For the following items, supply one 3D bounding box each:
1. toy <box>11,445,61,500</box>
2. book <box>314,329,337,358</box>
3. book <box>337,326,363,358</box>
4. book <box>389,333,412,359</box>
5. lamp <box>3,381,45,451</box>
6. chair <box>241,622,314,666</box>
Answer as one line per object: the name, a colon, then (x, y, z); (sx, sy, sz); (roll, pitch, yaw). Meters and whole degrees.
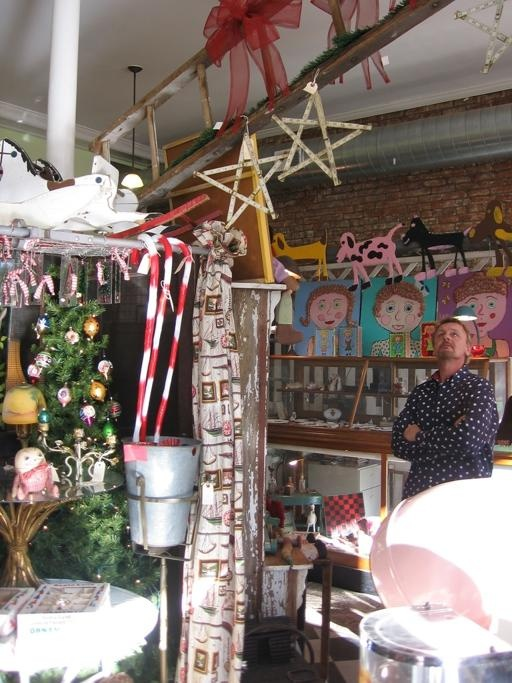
toy: (-0.749, 0.442, 1.898); (0.149, 0.150, 0.314); (-4, -4, -20)
book: (0.704, 0.024, 5.662); (0.095, 0.243, 0.250); (11, -13, -37)
book: (0.930, 0.011, 5.543); (0.272, 0.306, 0.116); (-7, -20, 31)
book: (1.370, 0.043, 5.345); (0.248, 0.231, 0.068); (-2, -12, 44)
lamp: (-0.889, 0.284, 2.165); (0.148, 0.238, 0.232); (-4, -4, -20)
chair: (0.096, 1.551, 2.894); (0.350, 0.145, 0.428); (0, -2, -5)
